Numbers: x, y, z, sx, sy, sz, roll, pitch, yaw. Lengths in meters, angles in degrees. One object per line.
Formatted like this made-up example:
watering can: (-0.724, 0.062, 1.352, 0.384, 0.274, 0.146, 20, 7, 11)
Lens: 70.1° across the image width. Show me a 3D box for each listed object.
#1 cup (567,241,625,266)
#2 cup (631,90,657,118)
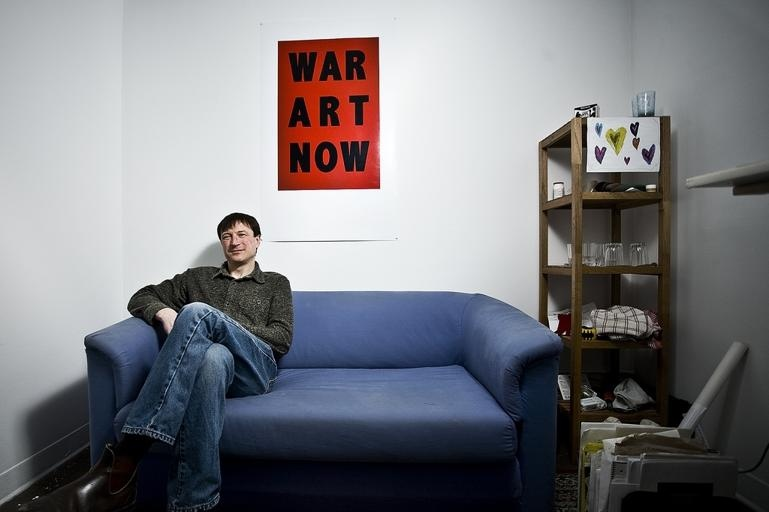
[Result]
cup: (1.373, -0.013, 3.563, 0.174, 0.152, 0.319, -1, 4, -33)
cup: (1.611, -0.938, 3.483, 0.160, 0.191, 0.159, 0, 1, 0)
